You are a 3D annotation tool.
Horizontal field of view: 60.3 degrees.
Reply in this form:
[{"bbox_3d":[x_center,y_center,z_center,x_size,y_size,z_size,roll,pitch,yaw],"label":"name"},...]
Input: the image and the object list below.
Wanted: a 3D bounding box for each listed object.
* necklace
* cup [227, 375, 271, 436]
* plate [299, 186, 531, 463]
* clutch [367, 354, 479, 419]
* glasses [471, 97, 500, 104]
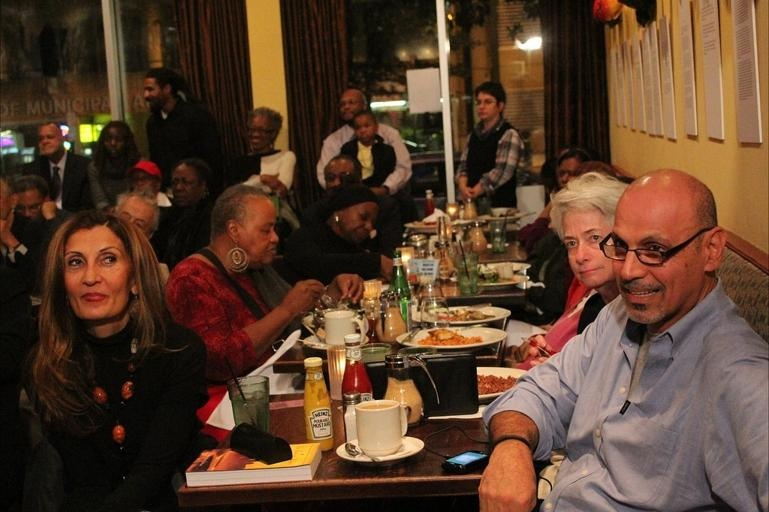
[{"bbox_3d":[-0.985,0.546,2.516,0.387,0.518,0.165,-2,-1,9],"label":"necklace"},{"bbox_3d":[-0.466,0.537,2.306,0.144,0.216,0.142,-6,1,0],"label":"cup"},{"bbox_3d":[0.130,0.280,3.113,1.092,0.905,1.134,6,7,20],"label":"plate"},{"bbox_3d":[0.175,0.433,2.276,0.344,0.230,0.239,-2,-3,-4],"label":"clutch"},{"bbox_3d":[1.070,-1.619,6.835,0.251,0.088,0.113,-3,10,14],"label":"glasses"}]
